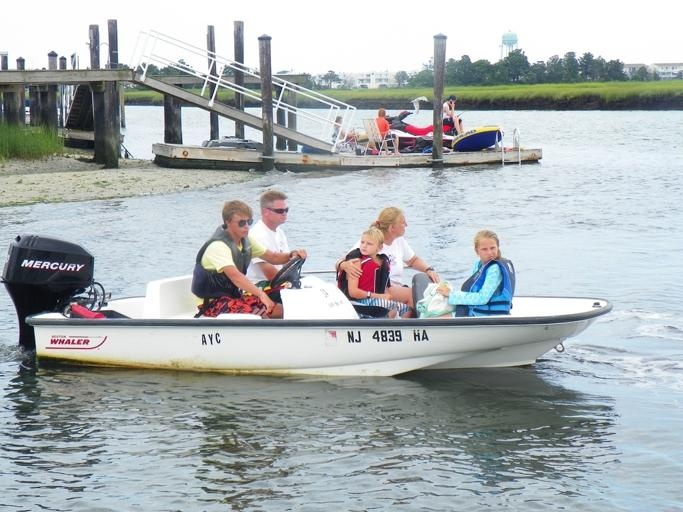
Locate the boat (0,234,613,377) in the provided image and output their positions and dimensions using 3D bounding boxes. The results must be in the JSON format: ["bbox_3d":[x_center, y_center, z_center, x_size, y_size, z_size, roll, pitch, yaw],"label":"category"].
[{"bbox_3d":[0.341,0.409,12.511,8.732,1.420,2.024,1,10,6],"label":"boat"}]

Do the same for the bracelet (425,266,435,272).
[{"bbox_3d":[1.017,0.148,13.169,0.118,0.024,0.106,3,8,15],"label":"bracelet"}]

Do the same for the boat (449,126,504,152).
[{"bbox_3d":[3.461,-3.028,28.938,1.306,0.633,0.891,0,8,3],"label":"boat"}]

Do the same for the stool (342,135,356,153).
[{"bbox_3d":[0.148,-2.925,29.148,0.438,0.421,0.201,2,1,0],"label":"stool"}]

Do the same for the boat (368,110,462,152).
[{"bbox_3d":[1.672,-3.194,29.239,2.491,0.951,0.997,8,12,-7],"label":"boat"}]

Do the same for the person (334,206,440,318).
[{"bbox_3d":[0.356,0.254,12.234,0.867,0.975,0.612,12,14,20],"label":"person"}]

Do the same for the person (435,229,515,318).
[{"bbox_3d":[1.423,0.182,11.859,0.744,0.925,0.360,1,11,13],"label":"person"}]

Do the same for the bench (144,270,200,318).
[{"bbox_3d":[-1.899,0.465,12.412,0.541,0.562,0.267,-13,22,-34],"label":"bench"}]

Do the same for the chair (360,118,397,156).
[{"bbox_3d":[0.974,-3.043,28.379,0.866,0.915,1.394,0,8,3],"label":"chair"}]
